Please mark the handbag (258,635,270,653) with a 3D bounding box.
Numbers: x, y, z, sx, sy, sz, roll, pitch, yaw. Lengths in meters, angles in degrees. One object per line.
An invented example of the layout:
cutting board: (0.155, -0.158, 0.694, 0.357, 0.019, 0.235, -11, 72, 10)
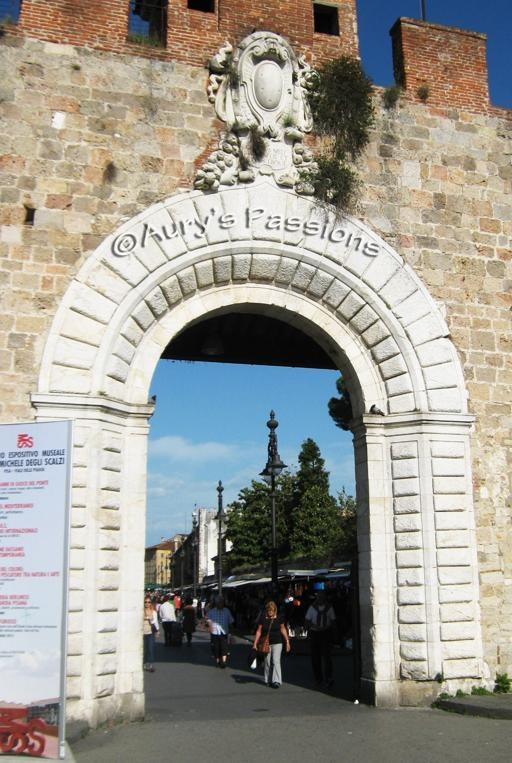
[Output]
handbag: (0.100, 4.023, 11.824, 0.144, 0.278, 0.368, 0, -13, -2)
